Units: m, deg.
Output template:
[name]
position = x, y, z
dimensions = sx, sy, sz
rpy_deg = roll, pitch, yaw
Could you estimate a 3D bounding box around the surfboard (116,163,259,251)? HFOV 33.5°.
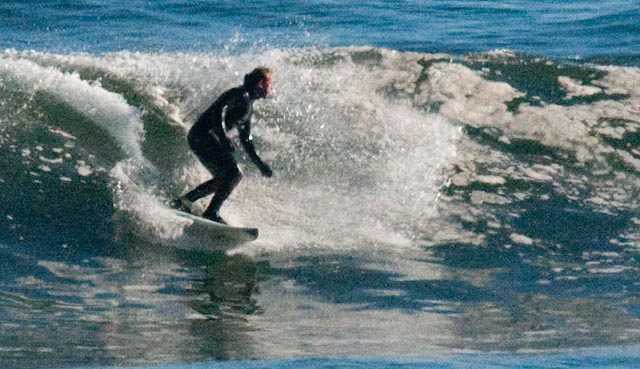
[surfboard]
position = -2.564, 0.772, 23.124
dimensions = 4.208, 1.040, 1.321
rpy_deg = 13, 41, -3
